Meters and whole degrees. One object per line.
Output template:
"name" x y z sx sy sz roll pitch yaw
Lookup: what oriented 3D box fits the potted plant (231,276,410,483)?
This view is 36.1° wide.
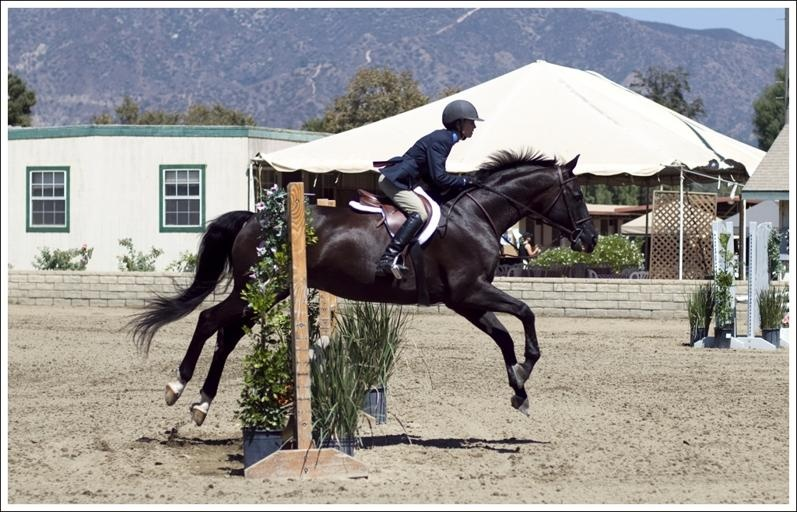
"potted plant" -1.468 2.240 23.468 2.289 3.792 2.397 0 -1 40

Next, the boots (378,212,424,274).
"boots" 0.071 -0.198 23.382 0.682 1.439 0.368 13 -22 20

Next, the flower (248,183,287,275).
"flower" -2.401 -0.526 23.258 0.540 1.396 1.329 6 -7 -13

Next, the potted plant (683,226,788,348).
"potted plant" 8.351 0.550 30.438 2.307 3.633 3.066 1 0 15
